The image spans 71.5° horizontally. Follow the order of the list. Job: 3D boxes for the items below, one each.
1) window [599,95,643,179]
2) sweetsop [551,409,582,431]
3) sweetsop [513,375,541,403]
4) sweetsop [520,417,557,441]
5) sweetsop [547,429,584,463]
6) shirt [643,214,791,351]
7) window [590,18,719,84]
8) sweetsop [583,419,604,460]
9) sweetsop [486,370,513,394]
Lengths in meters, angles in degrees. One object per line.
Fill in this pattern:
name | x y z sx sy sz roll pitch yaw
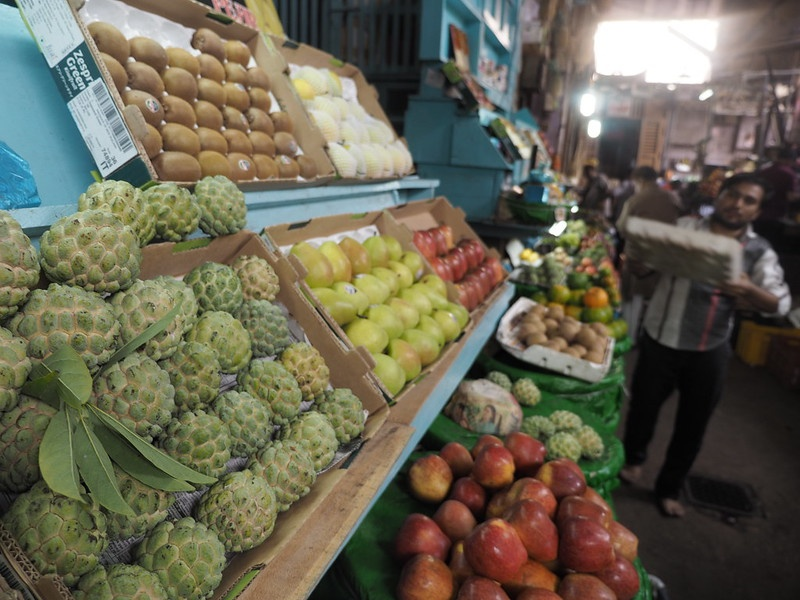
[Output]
window | 0.604 -0.429 1.534 0.118 0.222 0.132 2 -13 34
sweetsop | 0.882 0.636 2.939 0.092 0.078 0.120 -8 8 -13
sweetsop | 0.742 0.521 3.261 0.118 0.090 0.139 34 -11 -5
sweetsop | 0.728 0.690 2.887 0.128 0.131 0.143 -10 -18 30
sweetsop | 0.816 0.718 2.752 0.127 0.162 0.158 -7 -32 34
shirt | 1.015 -0.054 1.765 0.306 0.370 0.214 33 71 21
window | 0.643 -0.594 1.397 0.305 0.186 0.075 15 16 30
sweetsop | 0.963 0.704 2.785 0.084 0.102 0.147 -18 39 31
sweetsop | 0.602 0.480 3.324 0.126 0.111 0.104 42 -2 -1
